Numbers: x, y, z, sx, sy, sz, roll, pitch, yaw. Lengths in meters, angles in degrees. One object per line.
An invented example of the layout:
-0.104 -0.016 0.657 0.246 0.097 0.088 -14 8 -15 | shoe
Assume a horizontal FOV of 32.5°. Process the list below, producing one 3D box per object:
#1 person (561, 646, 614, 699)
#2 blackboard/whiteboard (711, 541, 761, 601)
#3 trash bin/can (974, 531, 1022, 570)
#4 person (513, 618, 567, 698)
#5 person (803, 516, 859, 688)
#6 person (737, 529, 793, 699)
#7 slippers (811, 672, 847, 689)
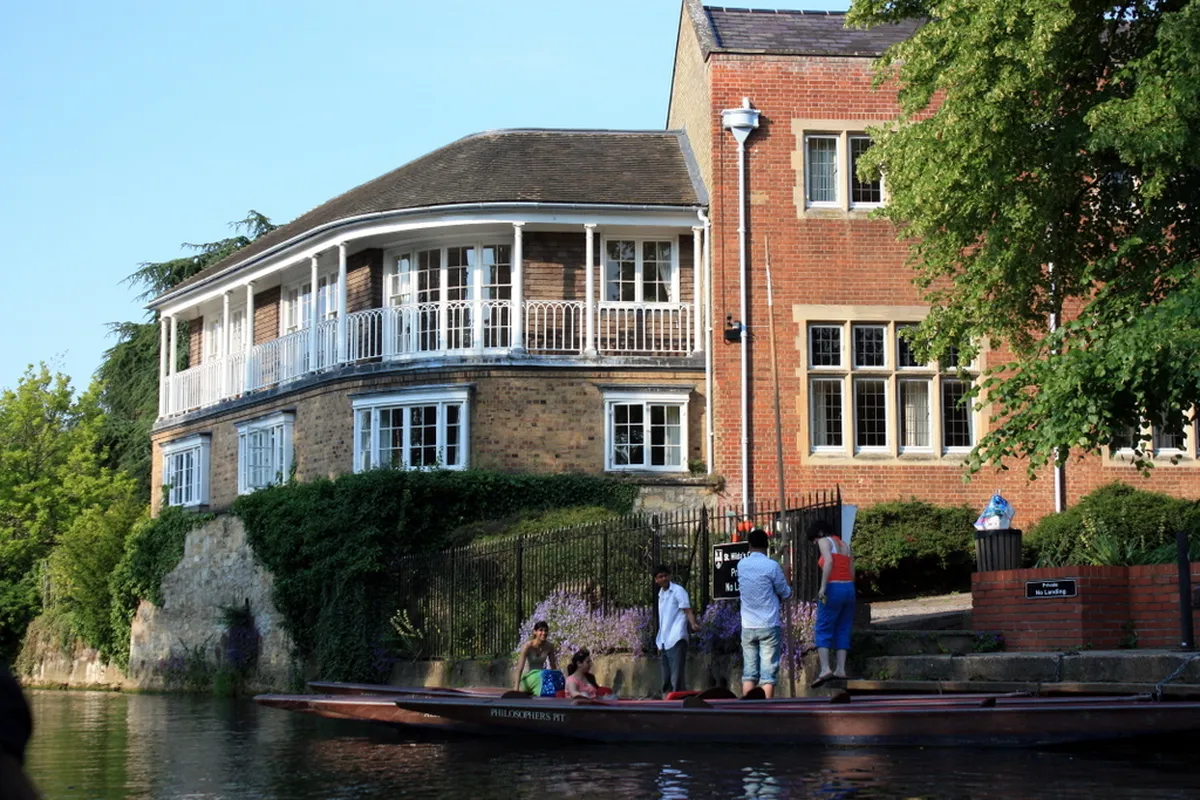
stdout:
-0.208 4.642 33.929 0.703 1.008 1.073 -3 0 20 | person
2.224 2.881 34.474 0.046 1.183 1.088 8 5 -44 | blackboard/whiteboard
6.938 2.645 36.360 0.670 0.765 0.682 7 -7 -31 | trash bin/can
-0.983 4.544 34.764 0.711 1.587 0.854 5 -5 -37 | person
3.801 3.326 33.608 0.623 1.945 1.073 1 0 6 | person
2.616 3.428 33.399 0.783 1.946 0.640 1 0 4 | person
3.712 4.529 33.250 0.617 0.269 0.232 -2 -2 10 | slippers
